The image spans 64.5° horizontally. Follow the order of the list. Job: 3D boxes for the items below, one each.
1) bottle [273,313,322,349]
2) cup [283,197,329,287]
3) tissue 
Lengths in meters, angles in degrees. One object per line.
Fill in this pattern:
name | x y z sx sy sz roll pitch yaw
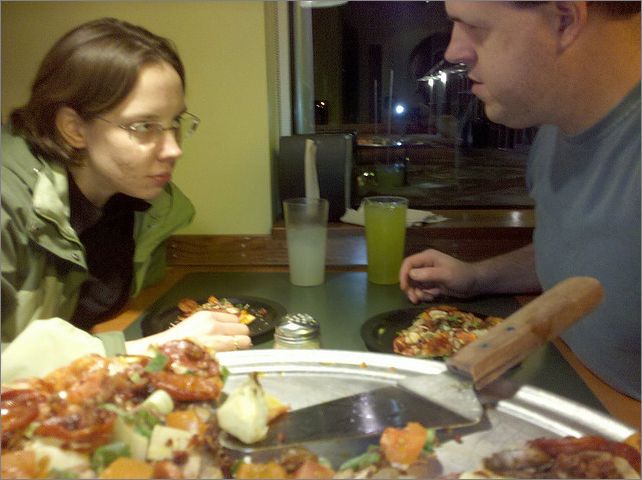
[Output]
bottle | -0.036 0.166 0.984 0.069 0.067 0.069 -1 3 -5
cup | -0.048 0.011 1.548 0.128 0.268 0.055 1 6 -3
tissue  | -0.004 -0.227 2.167 0.419 0.398 0.312 -1 8 1
